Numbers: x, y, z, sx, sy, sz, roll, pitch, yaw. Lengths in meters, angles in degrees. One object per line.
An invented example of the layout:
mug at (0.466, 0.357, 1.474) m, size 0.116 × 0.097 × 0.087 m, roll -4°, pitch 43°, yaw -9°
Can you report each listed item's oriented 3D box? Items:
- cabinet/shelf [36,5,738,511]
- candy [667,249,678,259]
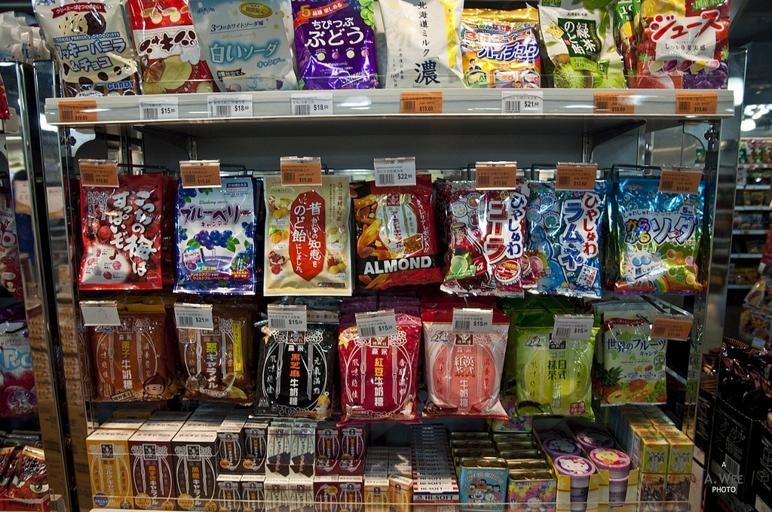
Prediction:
cabinet/shelf at (-0.026, 0.040, 2.505) m, size 2.326 × 2.151 × 0.727 m, roll 0°, pitch 29°, yaw 0°
candy at (1.219, -0.009, 2.493) m, size 0.036 × 0.036 × 0.020 m, roll -25°, pitch -8°, yaw 0°
